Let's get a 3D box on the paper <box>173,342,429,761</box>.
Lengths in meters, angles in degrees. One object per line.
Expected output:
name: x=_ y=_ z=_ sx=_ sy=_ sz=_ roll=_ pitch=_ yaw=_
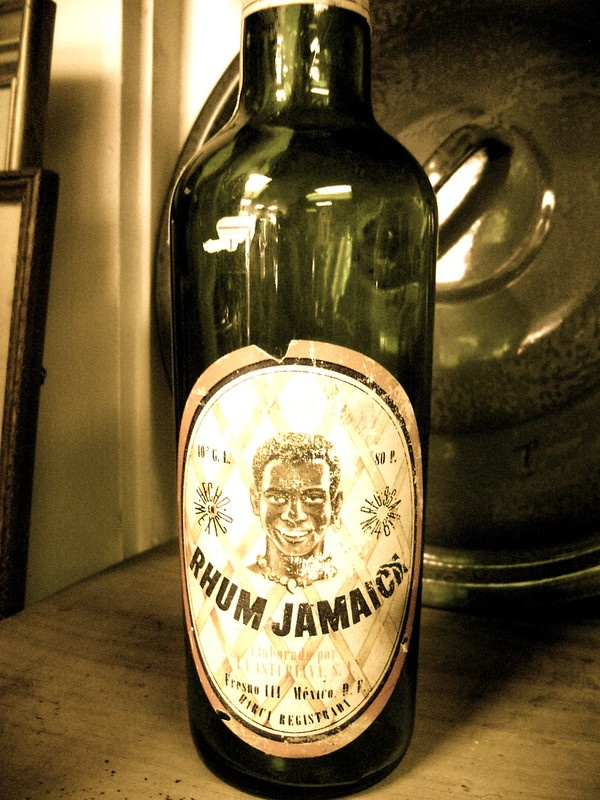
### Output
paper: x=-0.001 y=0.072 z=0.453 sx=0.117 sy=0.183 sz=0.095 roll=2 pitch=30 yaw=3
